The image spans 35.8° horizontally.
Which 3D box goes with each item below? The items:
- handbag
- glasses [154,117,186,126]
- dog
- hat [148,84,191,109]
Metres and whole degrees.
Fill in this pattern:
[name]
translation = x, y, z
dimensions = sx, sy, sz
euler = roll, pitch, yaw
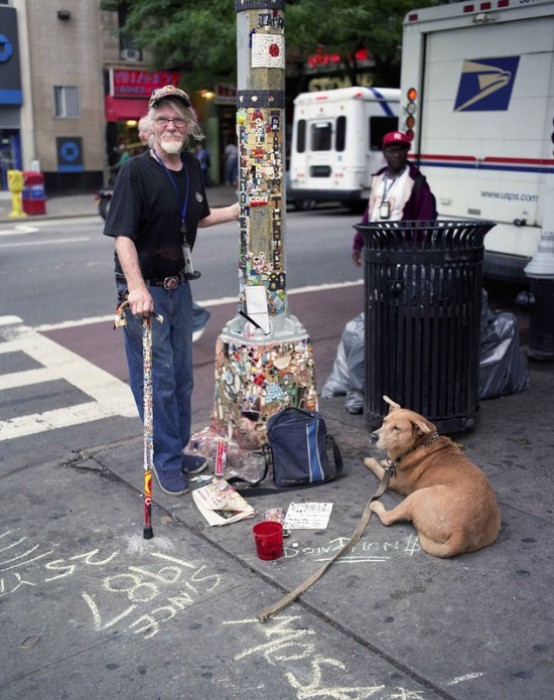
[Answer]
[handbag]
translation = 0.049, 0.510, 4.465
dimensions = 0.632, 0.377, 0.291
euler = -4, 15, -15
[glasses]
translation = -0.521, -1.112, 4.185
dimensions = 0.135, 0.033, 0.044
euler = -2, 14, -10
[dog]
translation = 0.680, 0.596, 3.900
dimensions = 0.478, 0.318, 0.705
euler = -3, 20, -10
[hat]
translation = -0.538, -1.244, 4.262
dimensions = 0.147, 0.071, 0.190
euler = 0, 10, -9
